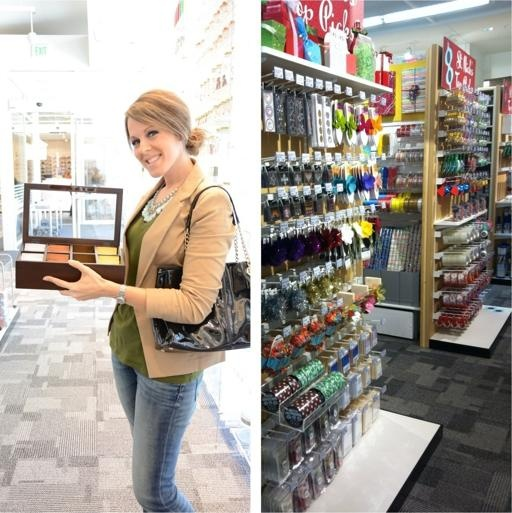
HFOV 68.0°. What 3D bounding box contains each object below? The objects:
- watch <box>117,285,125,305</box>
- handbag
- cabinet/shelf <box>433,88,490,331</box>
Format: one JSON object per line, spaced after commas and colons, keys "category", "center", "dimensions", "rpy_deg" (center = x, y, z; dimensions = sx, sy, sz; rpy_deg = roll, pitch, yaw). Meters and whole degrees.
{"category": "watch", "center": [-0.326, 0.094, 0.905], "dimensions": [0.019, 0.051, 0.071], "rpy_deg": [-4, 8, -20]}
{"category": "handbag", "center": [-0.112, 0.040, 1.000], "dimensions": [0.170, 0.441, 0.317], "rpy_deg": [4, 9, 32]}
{"category": "cabinet/shelf", "center": [2.143, -0.420, 3.892], "dimensions": [0.505, 2.373, 0.671], "rpy_deg": [4, 9, 33]}
